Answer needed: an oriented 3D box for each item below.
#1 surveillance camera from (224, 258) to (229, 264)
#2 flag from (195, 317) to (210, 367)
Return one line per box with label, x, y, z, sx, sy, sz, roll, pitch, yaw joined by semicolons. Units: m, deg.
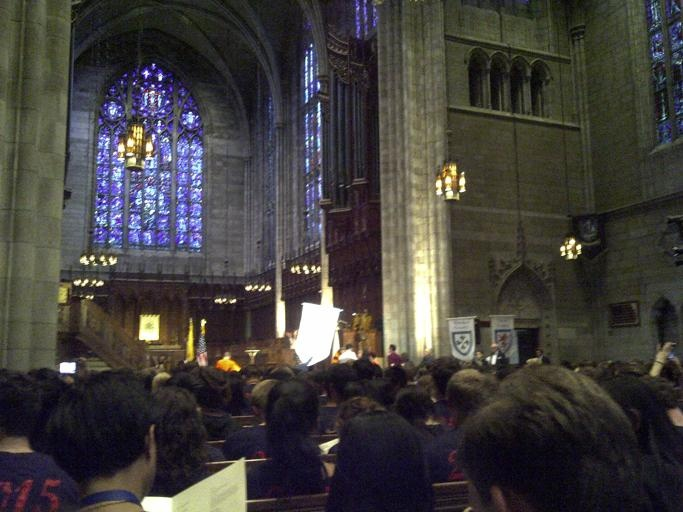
surveillance camera;-5.415;0.247;37.133;0.184;0.301;0.172;0;-4;-10
flag;-5.664;3.513;32.530;0.507;1.956;0.508;4;-9;-39
